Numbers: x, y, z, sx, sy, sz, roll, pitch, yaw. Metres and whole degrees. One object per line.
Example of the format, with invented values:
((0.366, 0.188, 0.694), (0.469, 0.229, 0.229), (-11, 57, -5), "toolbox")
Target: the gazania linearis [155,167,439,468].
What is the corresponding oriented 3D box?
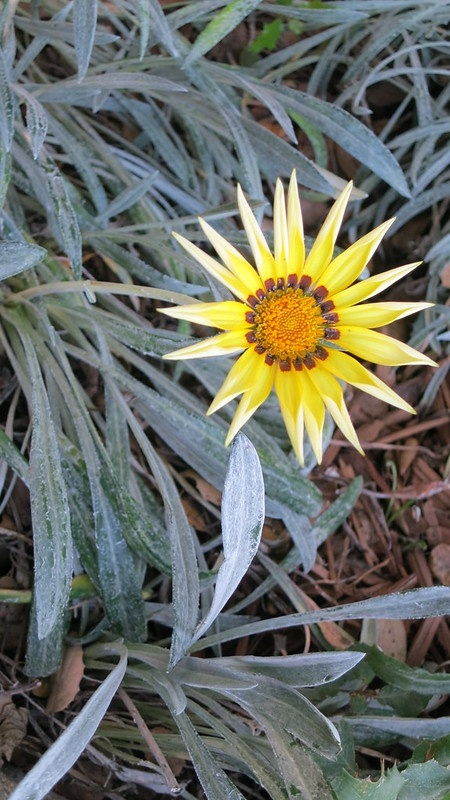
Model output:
((0.067, -0.118, 0.781), (0.367, 0.375, 0.139), (4, -53, 3), "gazania linearis")
